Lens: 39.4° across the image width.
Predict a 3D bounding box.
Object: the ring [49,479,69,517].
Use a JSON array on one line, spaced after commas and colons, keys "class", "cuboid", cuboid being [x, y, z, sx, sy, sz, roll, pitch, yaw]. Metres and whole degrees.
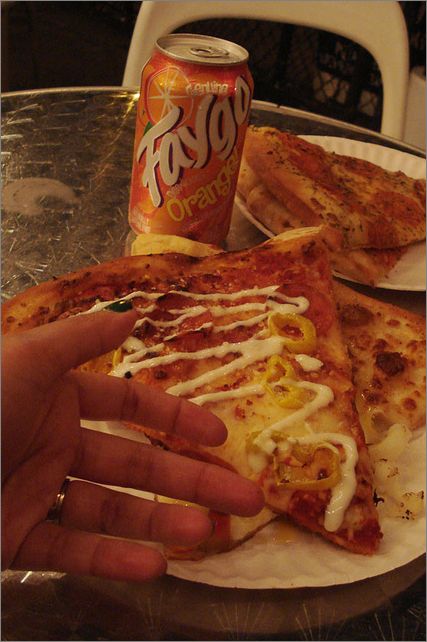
[{"class": "ring", "cuboid": [-0.219, 0.249, 0.847, 0.043, 0.031, 0.042, 17, 6, -2]}]
